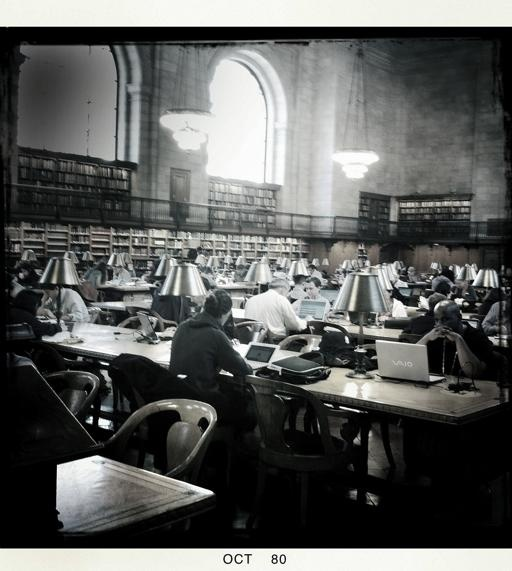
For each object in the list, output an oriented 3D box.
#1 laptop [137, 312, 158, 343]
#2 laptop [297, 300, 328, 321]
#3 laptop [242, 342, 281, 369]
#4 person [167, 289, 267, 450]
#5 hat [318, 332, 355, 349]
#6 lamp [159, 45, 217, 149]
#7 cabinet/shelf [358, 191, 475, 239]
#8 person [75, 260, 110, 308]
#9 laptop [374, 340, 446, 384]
[{"bbox_3d":[-0.901,0.343,4.138,0.142,0.200,0.198,-16,15,-29],"label":"laptop"},{"bbox_3d":[0.573,0.243,5.000,0.259,0.195,0.185,4,-13,32],"label":"laptop"},{"bbox_3d":[0.023,0.424,3.045,0.157,0.142,0.119,9,-12,30],"label":"laptop"},{"bbox_3d":[-0.247,0.524,2.962,0.385,0.936,0.509,12,9,42],"label":"person"},{"bbox_3d":[0.543,0.363,3.348,0.142,0.067,0.194,3,3,29],"label":"hat"},{"bbox_3d":[-1.082,-3.080,7.811,0.602,1.404,0.604,-6,7,-36],"label":"lamp"},{"bbox_3d":[6.032,-2.542,18.336,3.403,1.695,0.960,5,9,30],"label":"cabinet/shelf"},{"bbox_3d":[-2.412,-0.020,7.434,0.252,0.764,0.525,6,14,-6],"label":"person"},{"bbox_3d":[0.824,0.389,2.675,0.278,0.219,0.256,2,8,37],"label":"laptop"}]
